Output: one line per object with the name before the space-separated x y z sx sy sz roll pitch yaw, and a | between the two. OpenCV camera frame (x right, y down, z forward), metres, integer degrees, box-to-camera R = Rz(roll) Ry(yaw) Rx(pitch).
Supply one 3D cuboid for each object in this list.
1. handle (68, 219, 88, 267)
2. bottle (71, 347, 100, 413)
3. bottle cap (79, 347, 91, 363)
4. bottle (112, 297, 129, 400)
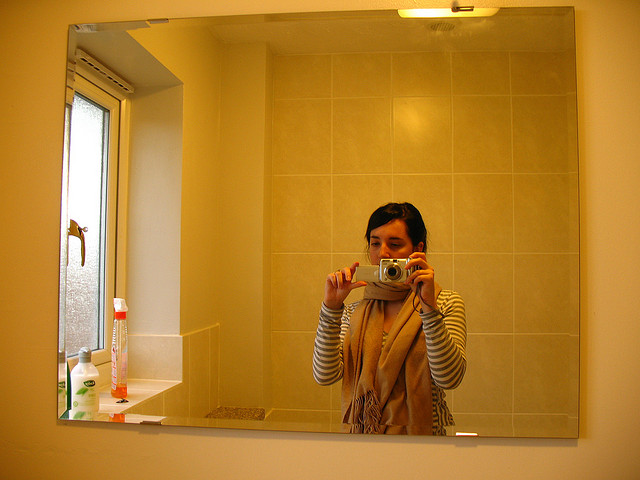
handle | -0.696 0.006 1.658 0.057 0.131 0.015 -2 -8 3
bottle | -0.666 0.396 1.636 0.081 0.182 0.044 -1 -8 -3
bottle cap | -0.665 0.326 1.628 0.033 0.036 0.033 2 -11 -9
bottle | -0.565 0.309 1.634 0.041 0.272 0.031 0 -9 -9
